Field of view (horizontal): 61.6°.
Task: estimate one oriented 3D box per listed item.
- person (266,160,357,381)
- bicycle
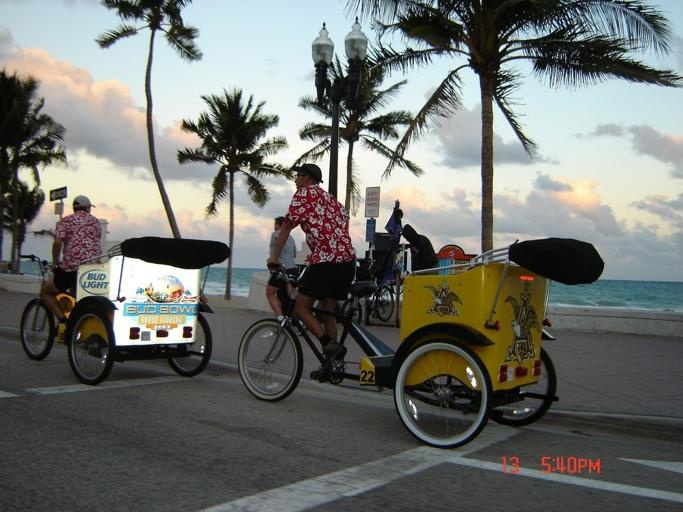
[{"bbox_3d":[-0.233,0.135,6.610,1.019,2.486,0.965,-8,-12,43],"label":"person"},{"bbox_3d":[0.744,0.955,14.312,1.252,1.593,2.573,-3,-9,-17],"label":"bicycle"}]
